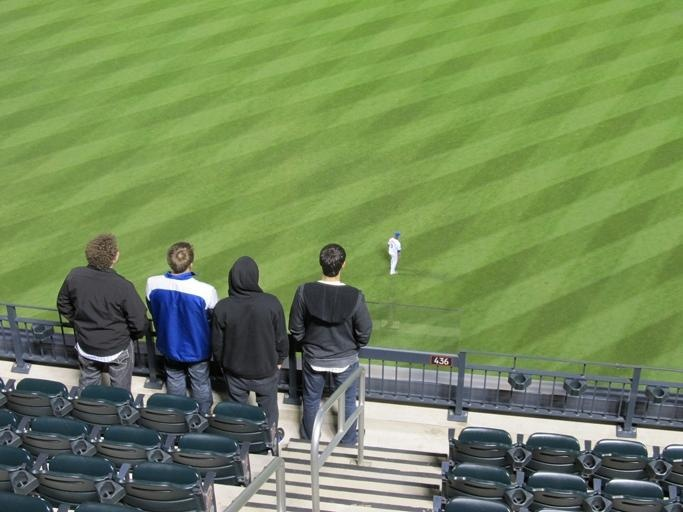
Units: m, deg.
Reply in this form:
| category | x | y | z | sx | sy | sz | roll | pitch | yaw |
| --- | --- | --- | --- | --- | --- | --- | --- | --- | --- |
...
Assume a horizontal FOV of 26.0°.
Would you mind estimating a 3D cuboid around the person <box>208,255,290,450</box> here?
| category | x | y | z | sx | sy | sz | roll | pitch | yaw |
| --- | --- | --- | --- | --- | --- | --- | --- | --- | --- |
| person | -1.370 | 1.545 | 21.709 | 1.208 | 2.970 | 0.801 | -3 | 22 | -5 |

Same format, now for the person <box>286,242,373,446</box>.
| category | x | y | z | sx | sy | sz | roll | pitch | yaw |
| --- | --- | --- | --- | --- | --- | --- | --- | --- | --- |
| person | -0.173 | 1.286 | 21.453 | 1.181 | 2.831 | 0.765 | 1 | -5 | 10 |
